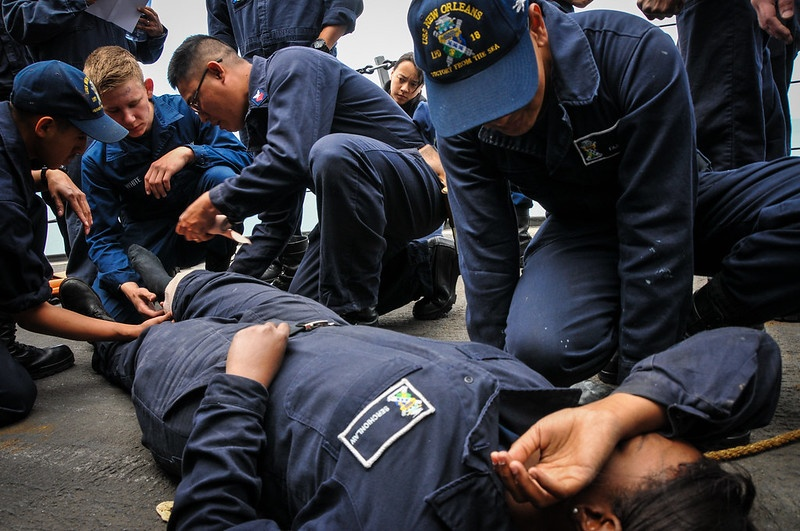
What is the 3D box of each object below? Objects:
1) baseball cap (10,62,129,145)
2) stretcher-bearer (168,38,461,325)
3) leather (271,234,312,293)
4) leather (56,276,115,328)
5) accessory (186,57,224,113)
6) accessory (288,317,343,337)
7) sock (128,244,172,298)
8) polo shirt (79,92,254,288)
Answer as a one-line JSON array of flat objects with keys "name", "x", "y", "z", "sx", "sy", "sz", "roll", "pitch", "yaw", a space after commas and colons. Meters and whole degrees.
[{"name": "baseball cap", "x": -1.296, "y": -0.654, "z": 2.525, "sx": 0.416, "sy": 0.216, "sz": 0.263, "roll": 19, "pitch": 13, "yaw": -26}, {"name": "stretcher-bearer", "x": -0.408, "y": -0.491, "z": 2.952, "sx": 1.164, "sy": 1.035, "sz": 0.757, "roll": -4, "pitch": -12, "yaw": -31}, {"name": "leather", "x": -0.537, "y": -0.014, "z": 3.088, "sx": 0.302, "sy": 0.296, "sz": 0.129, "roll": 7, "pitch": 41, "yaw": -3}, {"name": "leather", "x": -1.372, "y": 0.165, "z": 2.725, "sx": 0.213, "sy": 0.078, "sz": 0.082, "roll": 41, "pitch": -2, "yaw": -19}, {"name": "accessory", "x": -0.874, "y": -0.820, "z": 2.771, "sx": 0.056, "sy": 0.197, "sz": 0.191, "roll": 25, "pitch": -1, "yaw": 3}, {"name": "accessory", "x": -0.267, "y": 0.185, "z": 1.889, "sx": 0.088, "sy": 0.027, "sz": 0.066, "roll": -14, "pitch": 6, "yaw": -14}, {"name": "sock", "x": -1.161, "y": -0.027, "z": 2.843, "sx": 0.127, "sy": 0.153, "sz": 0.522, "roll": -7, "pitch": 32, "yaw": -24}, {"name": "polo shirt", "x": -1.116, "y": -0.366, "z": 2.904, "sx": 0.615, "sy": 0.813, "sz": 0.646, "roll": -10, "pitch": 60, "yaw": -2}]
